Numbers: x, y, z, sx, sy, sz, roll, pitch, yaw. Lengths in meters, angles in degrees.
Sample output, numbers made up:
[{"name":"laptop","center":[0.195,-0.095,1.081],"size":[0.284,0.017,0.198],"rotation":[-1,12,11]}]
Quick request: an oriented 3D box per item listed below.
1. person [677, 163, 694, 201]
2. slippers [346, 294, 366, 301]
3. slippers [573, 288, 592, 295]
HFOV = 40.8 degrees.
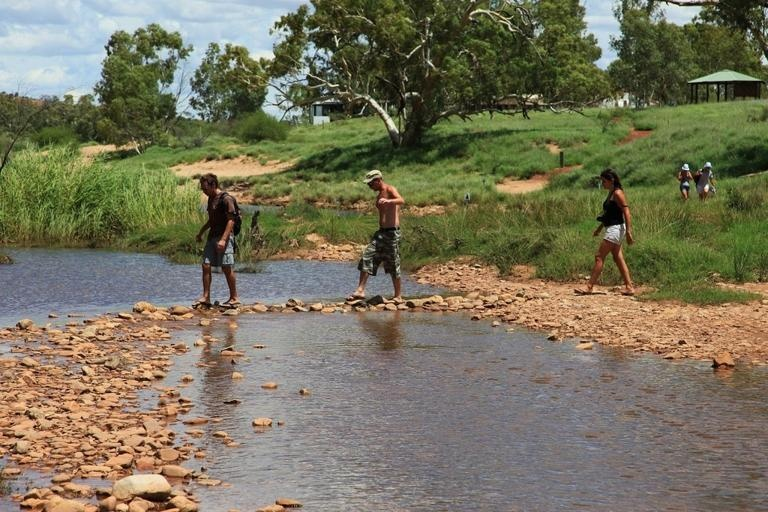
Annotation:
[{"name":"person","center":[10.148,-2.472,34.823],"size":[0.407,1.196,2.665],"rotation":[4,11,16]},{"name":"slippers","center":[-0.599,0.878,21.654],"size":[0.377,0.150,0.323],"rotation":[-1,11,-6]},{"name":"slippers","center":[4.279,0.773,22.232],"size":[0.341,0.128,0.128],"rotation":[9,2,11]}]
